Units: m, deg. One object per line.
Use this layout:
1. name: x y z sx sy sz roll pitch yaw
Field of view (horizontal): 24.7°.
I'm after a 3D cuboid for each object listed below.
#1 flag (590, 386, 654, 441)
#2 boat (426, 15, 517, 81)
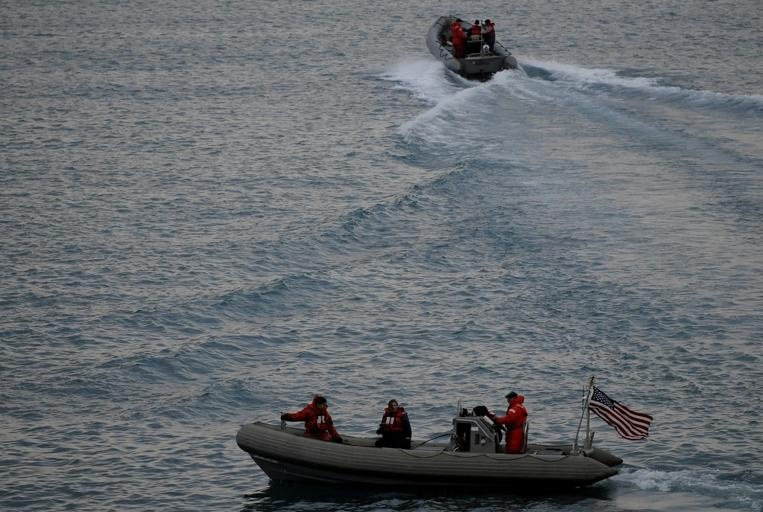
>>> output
1. flag: 10.109 6.603 72.184 2.712 1.910 1.004 16 25 33
2. boat: 5.242 -12.586 104.080 4.391 1.806 6.162 -4 25 -12
